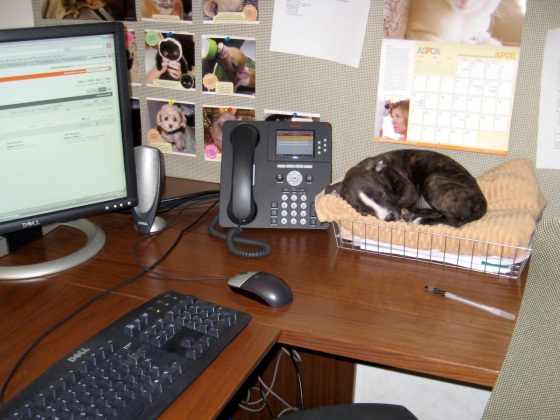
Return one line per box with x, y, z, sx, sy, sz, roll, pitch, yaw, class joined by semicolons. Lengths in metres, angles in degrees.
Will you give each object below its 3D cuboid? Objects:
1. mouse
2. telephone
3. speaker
-0.041;0.142;0.833;0.136;0.043;0.077;10;22;27;mouse
-0.012;-0.135;1.075;0.285;0.264;0.230;0;25;-1;telephone
-0.321;-0.059;1.088;0.093;0.208;0.088;8;14;23;speaker
